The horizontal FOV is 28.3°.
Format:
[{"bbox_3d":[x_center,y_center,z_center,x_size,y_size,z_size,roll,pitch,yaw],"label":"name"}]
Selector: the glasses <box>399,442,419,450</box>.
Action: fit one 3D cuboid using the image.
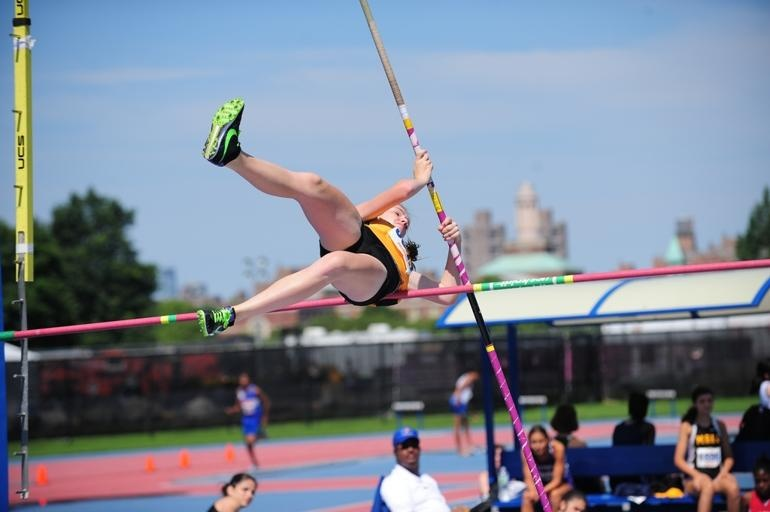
[{"bbox_3d":[0.381,3.029,24.088,0.200,0.133,0.312,2,-12,-1],"label":"glasses"}]
